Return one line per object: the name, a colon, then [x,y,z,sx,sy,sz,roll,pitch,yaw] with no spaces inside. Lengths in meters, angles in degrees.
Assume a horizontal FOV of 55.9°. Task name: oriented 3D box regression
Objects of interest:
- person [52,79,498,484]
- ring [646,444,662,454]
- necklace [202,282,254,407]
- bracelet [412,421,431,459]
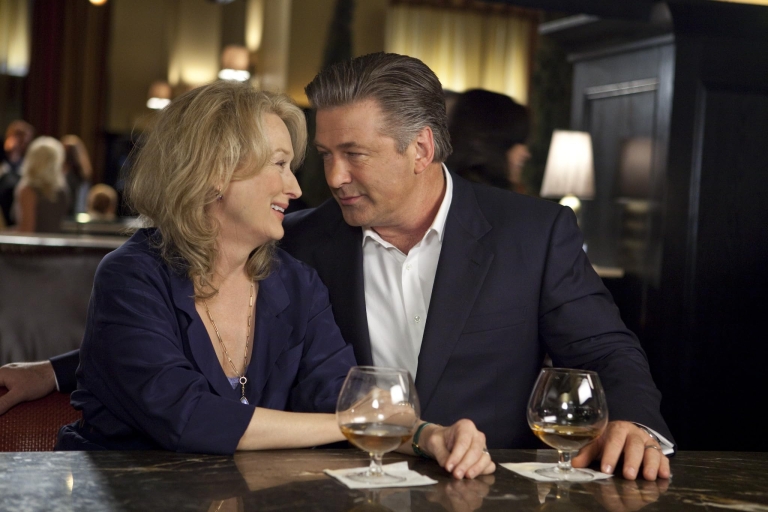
person: [-0.535,0.017,2.314,0.911,1.206,0.711,1,1,-25]
ring: [0.740,0.527,1.990,0.029,0.008,0.028,4,0,0]
necklace: [-0.489,0.290,2.408,0.134,0.405,0.020,-7,-29,-11]
bracelet: [0.100,0.518,2.034,0.028,0.075,0.056,1,5,-7]
